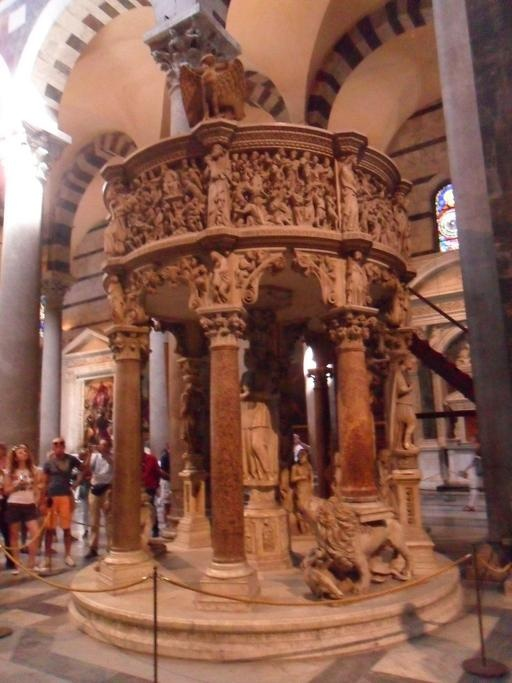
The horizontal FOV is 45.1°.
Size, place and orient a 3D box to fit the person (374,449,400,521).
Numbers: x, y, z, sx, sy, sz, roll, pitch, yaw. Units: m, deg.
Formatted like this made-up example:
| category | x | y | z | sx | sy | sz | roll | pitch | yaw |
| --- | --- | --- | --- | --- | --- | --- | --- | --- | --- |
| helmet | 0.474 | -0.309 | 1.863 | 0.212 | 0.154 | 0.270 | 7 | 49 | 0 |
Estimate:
| category | x | y | z | sx | sy | sz | roll | pitch | yaw |
| --- | --- | --- | --- | --- | --- | --- | --- | --- | --- |
| person | 1.390 | 1.517 | 6.550 | 0.250 | 0.724 | 0.263 | -1 | -4 | 13 |

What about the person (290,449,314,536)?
| category | x | y | z | sx | sy | sz | roll | pitch | yaw |
| --- | --- | --- | --- | --- | --- | --- | --- | --- | --- |
| person | 0.533 | 1.770 | 7.194 | 0.256 | 0.991 | 0.620 | -4 | -11 | 3 |

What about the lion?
| category | x | y | z | sx | sy | sz | roll | pitch | yaw |
| --- | --- | --- | --- | --- | --- | --- | --- | --- | --- |
| lion | 0.807 | 1.673 | 5.124 | 0.986 | 0.734 | 0.897 | 0 | 0 | -19 |

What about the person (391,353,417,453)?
| category | x | y | z | sx | sy | sz | roll | pitch | yaw |
| --- | --- | --- | --- | --- | --- | --- | --- | --- | --- |
| person | 1.538 | 0.674 | 6.501 | 0.287 | 0.955 | 0.311 | -6 | -11 | 13 |

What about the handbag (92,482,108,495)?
| category | x | y | z | sx | sy | sz | roll | pitch | yaw |
| --- | --- | --- | --- | --- | --- | --- | --- | --- | --- |
| handbag | -1.973 | 1.857 | 7.723 | 0.180 | 0.117 | 0.170 | 2 | -6 | 1 |
